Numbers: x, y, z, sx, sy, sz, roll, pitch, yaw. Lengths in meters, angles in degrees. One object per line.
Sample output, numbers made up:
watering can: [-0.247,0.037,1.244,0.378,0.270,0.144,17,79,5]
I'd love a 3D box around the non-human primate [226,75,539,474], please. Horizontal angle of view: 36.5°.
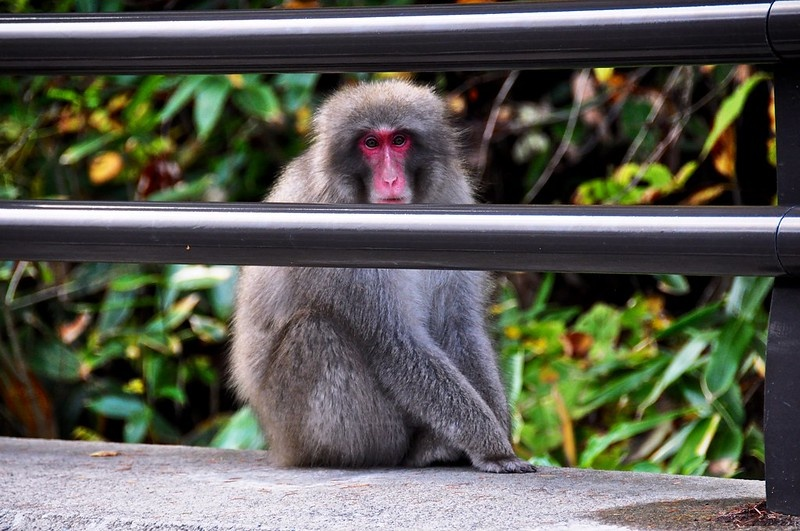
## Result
non-human primate: [-0.131,-0.030,5.505,1.300,1.790,0.941,1,-1,3]
